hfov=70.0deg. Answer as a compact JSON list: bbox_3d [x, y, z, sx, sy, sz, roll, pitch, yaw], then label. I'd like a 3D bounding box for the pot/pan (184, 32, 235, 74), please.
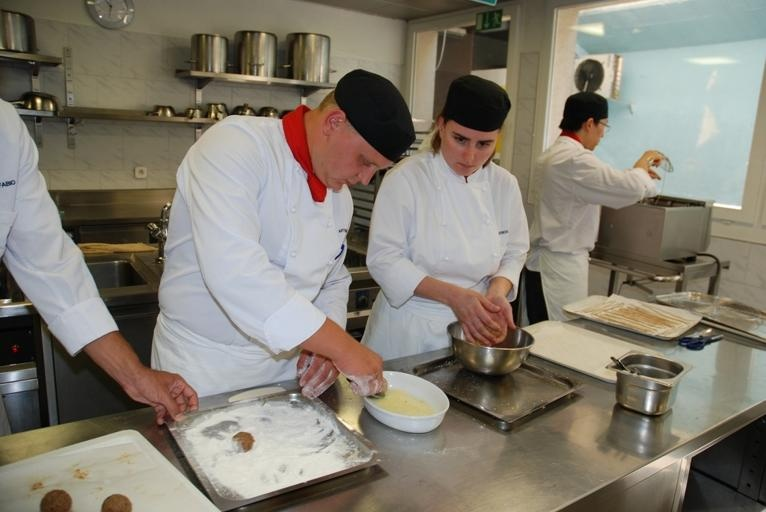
[{"bbox_3d":[-1.381,-1.597,4.329,0.318,0.357,0.318,1,2,-11],"label":"pot/pan"}]

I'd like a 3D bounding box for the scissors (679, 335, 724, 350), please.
[{"bbox_3d":[1.342,0.361,2.319,0.118,0.018,0.075,-6,8,-32],"label":"scissors"}]

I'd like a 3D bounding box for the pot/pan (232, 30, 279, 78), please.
[{"bbox_3d":[-0.997,-1.635,4.573,0.370,0.419,0.374,2,5,5],"label":"pot/pan"}]

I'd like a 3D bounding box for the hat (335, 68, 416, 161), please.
[{"bbox_3d":[-0.031,-0.436,1.701,0.246,0.280,0.156,0,18,4],"label":"hat"}]

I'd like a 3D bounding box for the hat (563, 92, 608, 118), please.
[{"bbox_3d":[1.283,-0.943,3.444,0.182,0.105,0.184,-2,19,-5],"label":"hat"}]

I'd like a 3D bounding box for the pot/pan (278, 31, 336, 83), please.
[{"bbox_3d":[-0.616,-1.674,4.803,0.420,0.476,0.429,2,3,12],"label":"pot/pan"}]

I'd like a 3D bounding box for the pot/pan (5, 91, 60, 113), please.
[{"bbox_3d":[-2.458,-1.075,3.822,0.173,0.109,0.281,4,5,43],"label":"pot/pan"}]

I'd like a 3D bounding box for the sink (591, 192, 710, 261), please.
[{"bbox_3d":[1.752,-0.300,3.477,0.430,0.345,0.588,-5,8,-25],"label":"sink"}]

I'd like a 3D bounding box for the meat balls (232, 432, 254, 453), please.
[{"bbox_3d":[-0.395,0.530,1.551,0.049,0.034,0.047,1,7,0],"label":"meat balls"}]

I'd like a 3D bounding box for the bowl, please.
[{"bbox_3d":[0.393,0.347,2.021,0.319,0.140,0.249,3,18,11],"label":"bowl"}]
